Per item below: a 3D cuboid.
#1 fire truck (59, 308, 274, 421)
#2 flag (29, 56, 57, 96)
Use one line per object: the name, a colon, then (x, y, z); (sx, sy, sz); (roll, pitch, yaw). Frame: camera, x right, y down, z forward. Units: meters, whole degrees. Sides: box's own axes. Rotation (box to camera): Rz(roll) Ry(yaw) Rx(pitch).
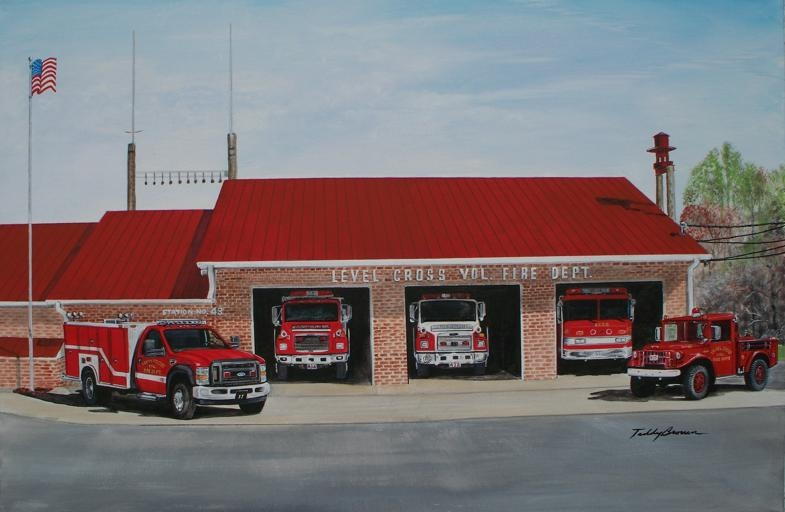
fire truck: (-8.947, 3.960, 57.647); (4.343, 3.584, 9.659); (-4, 2, -39)
flag: (-14.779, -7.808, 61.459); (1.055, 1.656, 3.752); (-1, 3, -14)
